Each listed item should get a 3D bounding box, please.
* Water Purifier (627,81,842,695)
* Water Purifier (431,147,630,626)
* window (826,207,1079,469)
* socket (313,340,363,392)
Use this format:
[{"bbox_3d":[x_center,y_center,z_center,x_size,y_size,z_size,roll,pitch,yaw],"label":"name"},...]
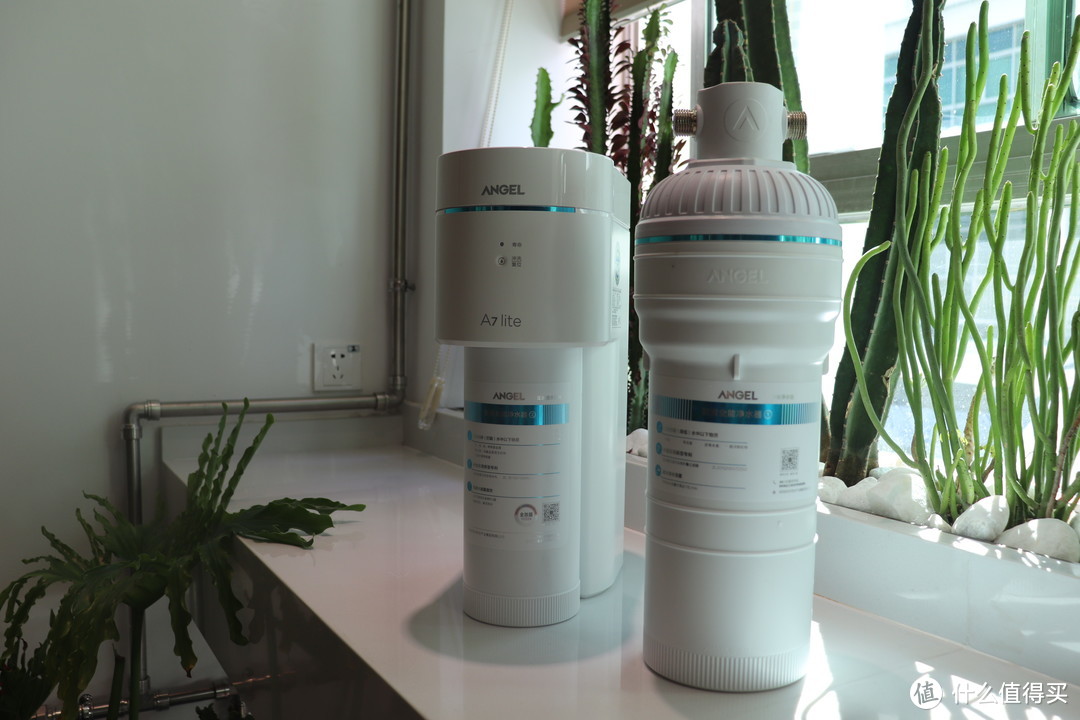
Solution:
[{"bbox_3d":[0.167,0.064,0.706,0.177,0.457,0.121,6,13,21],"label":"Water Purifier"},{"bbox_3d":[0.002,0.025,0.817,0.216,0.481,0.148,-2,13,-10],"label":"Water Purifier"},{"bbox_3d":[0.575,-0.042,1.164,0.304,0.396,0.336,-1,13,-8],"label":"window"},{"bbox_3d":[-0.436,0.016,1.682,0.112,0.115,0.057,0,-5,-33],"label":"socket"}]
